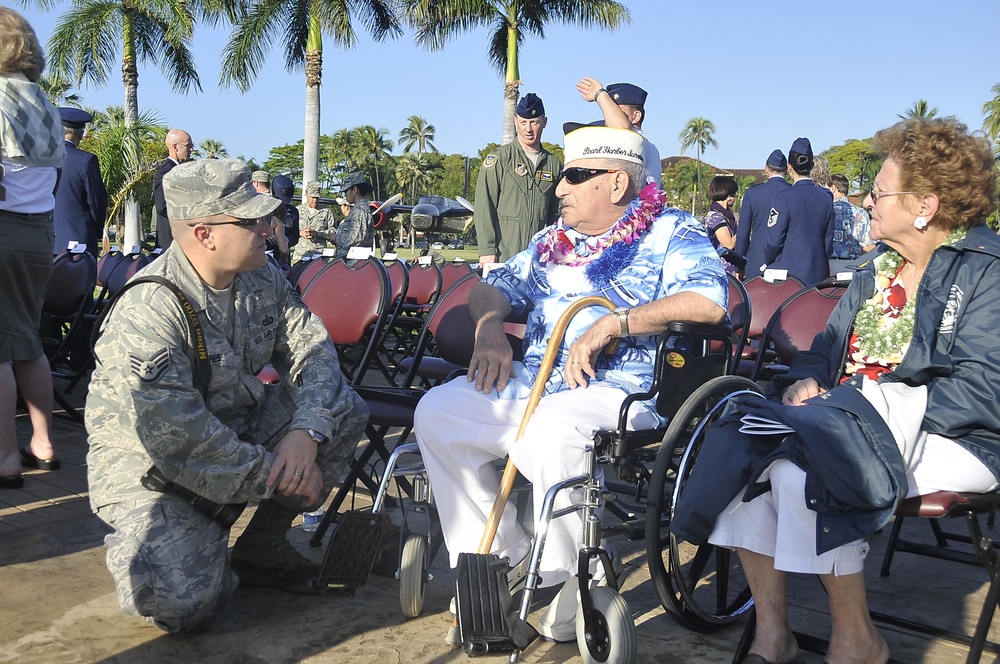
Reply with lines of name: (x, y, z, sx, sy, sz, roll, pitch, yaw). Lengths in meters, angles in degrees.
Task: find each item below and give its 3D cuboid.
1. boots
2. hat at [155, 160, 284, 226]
boots: (-1.111, 0.990, 4.770, 0.520, 0.520, 0.323, 1, 0, 4)
hat: (-1.264, -0.649, 4.341, 0.553, 0.298, 0.226, 2, 12, 4)
